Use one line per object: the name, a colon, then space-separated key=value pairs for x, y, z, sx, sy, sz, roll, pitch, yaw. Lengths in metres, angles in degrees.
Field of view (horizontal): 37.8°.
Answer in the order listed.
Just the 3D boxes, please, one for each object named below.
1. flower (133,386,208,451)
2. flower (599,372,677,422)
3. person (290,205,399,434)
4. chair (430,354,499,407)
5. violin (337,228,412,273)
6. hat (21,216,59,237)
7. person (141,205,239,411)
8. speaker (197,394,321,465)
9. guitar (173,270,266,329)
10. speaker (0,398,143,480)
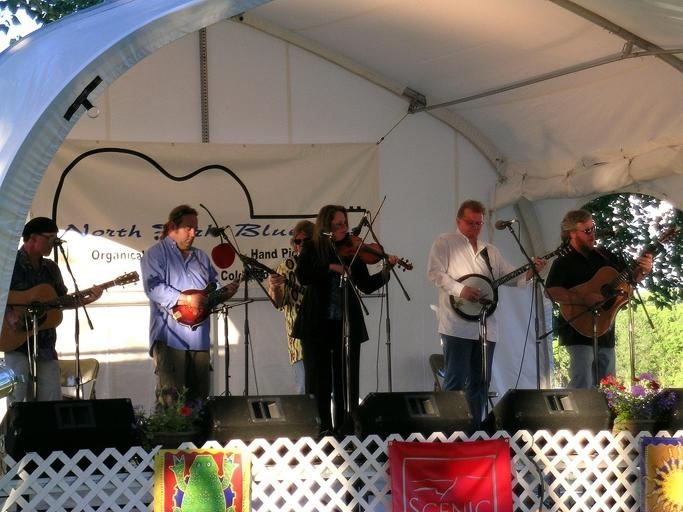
flower: x=-1.300 y=1.347 z=7.696 sx=0.390 sy=0.308 sz=0.492 roll=9 pitch=-12 yaw=-34
flower: x=2.382 y=1.148 z=8.051 sx=0.375 sy=0.316 sz=0.462 roll=-2 pitch=-2 yaw=-15
person: x=-0.057 y=0.556 z=8.653 sx=0.617 sy=2.031 sz=0.610 roll=-12 pitch=-15 yaw=34
chair: x=1.278 y=1.284 z=10.215 sx=0.485 sy=0.817 sz=0.598 roll=2 pitch=-8 yaw=-27
violin: x=0.248 y=-0.021 z=8.734 sx=0.702 sy=0.296 sz=0.108 roll=20 pitch=-36 yaw=-8
hat: x=-2.644 y=-0.253 z=8.670 sx=0.276 sy=0.201 sz=0.171 roll=1 pitch=-14 yaw=-21
person: x=-1.417 y=0.444 z=8.638 sx=0.642 sy=1.712 sz=0.382 roll=-1 pitch=-13 yaw=-11
speaker: x=-0.604 y=1.252 z=7.652 sx=0.830 sy=0.364 sz=0.140 roll=0 pitch=-13 yaw=-15
guitar: x=-1.095 y=0.331 z=8.808 sx=0.112 sy=0.350 sz=0.909 roll=-20 pitch=12 yaw=37
speaker: x=-2.026 y=1.290 z=7.454 sx=0.995 sy=0.415 sz=0.267 roll=0 pitch=-13 yaw=-15
